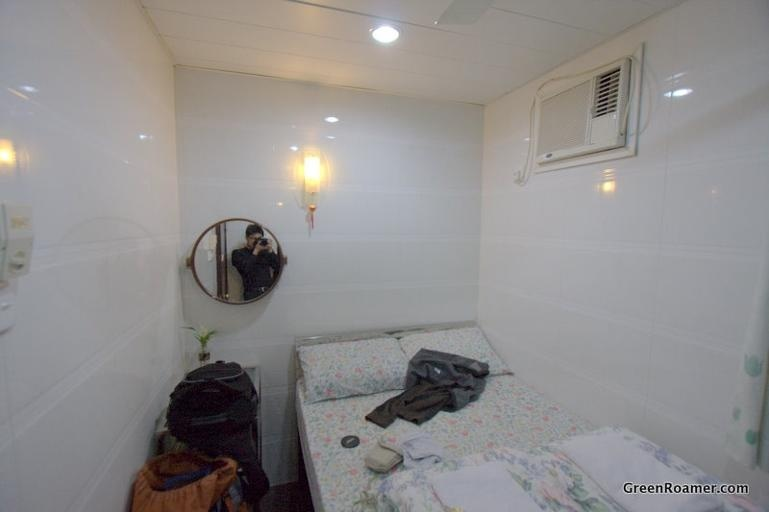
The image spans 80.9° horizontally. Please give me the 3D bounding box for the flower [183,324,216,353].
[{"bbox_3d":[-1.148,0.496,2.834,0.173,0.094,0.177,4,6,33],"label":"flower"}]

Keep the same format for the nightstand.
[{"bbox_3d":[-1.008,0.776,2.637,0.532,0.307,0.743,4,-2,-16],"label":"nightstand"}]

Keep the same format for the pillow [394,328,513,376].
[{"bbox_3d":[0.462,0.609,3.102,0.421,0.104,0.383,1,17,-18],"label":"pillow"}]

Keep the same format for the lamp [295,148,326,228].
[{"bbox_3d":[-0.502,-0.445,3.124,0.225,0.579,0.223,6,21,11],"label":"lamp"}]

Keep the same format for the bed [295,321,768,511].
[{"bbox_3d":[0.230,0.915,2.743,1.428,0.685,1.184,2,8,-18],"label":"bed"}]
